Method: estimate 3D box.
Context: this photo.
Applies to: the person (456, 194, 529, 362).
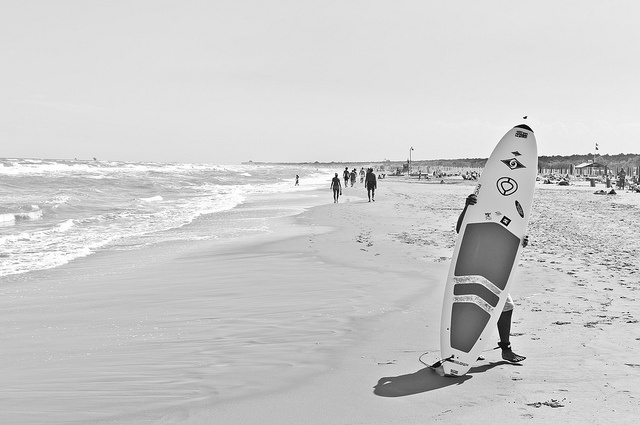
[{"bbox_3d":[2.349,1.147,7.019,0.634,2.762,0.436,5,-16,17],"label":"person"}]
